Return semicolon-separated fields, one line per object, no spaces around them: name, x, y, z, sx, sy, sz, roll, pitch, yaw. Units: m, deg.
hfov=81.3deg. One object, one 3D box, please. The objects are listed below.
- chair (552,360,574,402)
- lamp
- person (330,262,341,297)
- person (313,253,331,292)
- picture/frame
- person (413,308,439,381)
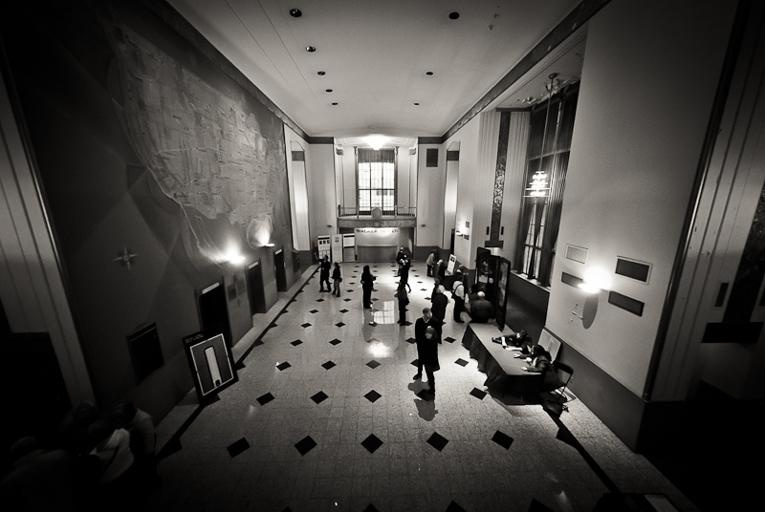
chair;3.481;2.453;8.674;0.480;0.683;0.432;-6;13;-41
lamp;3.729;-2.733;10.355;0.344;2.662;1.318;6;11;19
person;-1.383;0.669;13.423;0.275;1.036;1.166;2;10;-6
person;-1.756;0.514;13.697;0.376;1.227;1.451;1;10;-7
picture/frame;-3.365;2.185;8.679;0.175;1.374;0.994;-8;11;42
person;0.894;1.782;8.774;0.539;1.603;0.524;2;21;6
